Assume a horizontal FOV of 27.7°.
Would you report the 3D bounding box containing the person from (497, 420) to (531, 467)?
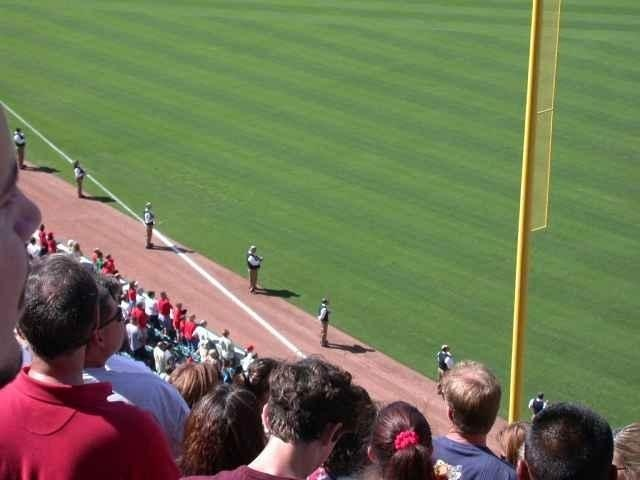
[{"bbox_3d":[4.108,4.380,28.257,0.942,1.117,0.880,2,17,4],"label":"person"}]
